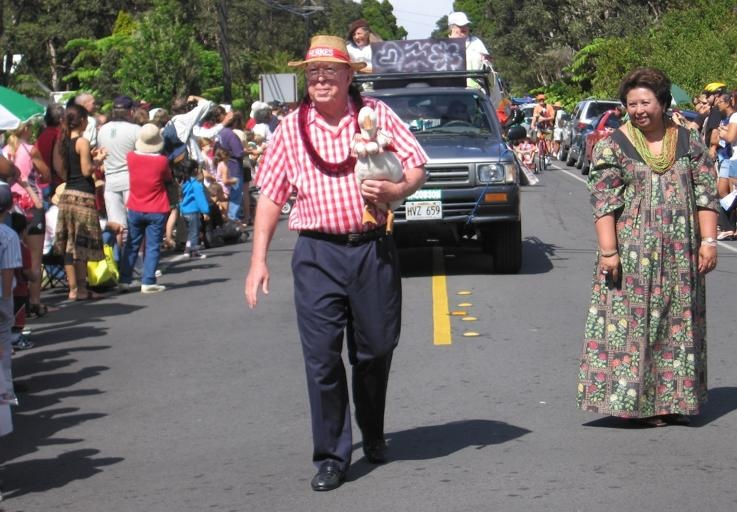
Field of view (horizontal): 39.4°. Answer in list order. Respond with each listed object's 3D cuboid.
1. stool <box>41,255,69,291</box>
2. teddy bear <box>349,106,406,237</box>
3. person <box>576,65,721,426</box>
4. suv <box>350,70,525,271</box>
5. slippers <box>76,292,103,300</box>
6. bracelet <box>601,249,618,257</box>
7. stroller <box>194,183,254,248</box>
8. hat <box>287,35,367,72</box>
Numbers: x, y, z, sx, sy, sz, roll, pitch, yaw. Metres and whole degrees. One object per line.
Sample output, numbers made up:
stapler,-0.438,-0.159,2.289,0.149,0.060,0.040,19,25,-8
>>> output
stool,-3.968,0.266,13.200,0.306,0.300,0.394,-20,-24,-12
teddy bear,0.060,-0.727,6.737,0.332,0.499,0.253,-2,12,-2
person,2.071,-0.096,7.611,1.023,2.536,0.648,0,12,8
suv,1.325,-0.850,14.412,2.328,2.538,4.415,-1,-7,14
slippers,-3.342,0.456,12.394,0.288,0.111,0.100,-4,8,-19
bracelet,1.772,-0.020,7.591,0.119,0.060,0.056,1,12,12
stroller,-2.288,-0.582,16.689,1.071,1.040,0.549,-23,16,-33
hat,-0.260,-1.367,6.929,0.485,0.243,0.342,-4,12,-13
